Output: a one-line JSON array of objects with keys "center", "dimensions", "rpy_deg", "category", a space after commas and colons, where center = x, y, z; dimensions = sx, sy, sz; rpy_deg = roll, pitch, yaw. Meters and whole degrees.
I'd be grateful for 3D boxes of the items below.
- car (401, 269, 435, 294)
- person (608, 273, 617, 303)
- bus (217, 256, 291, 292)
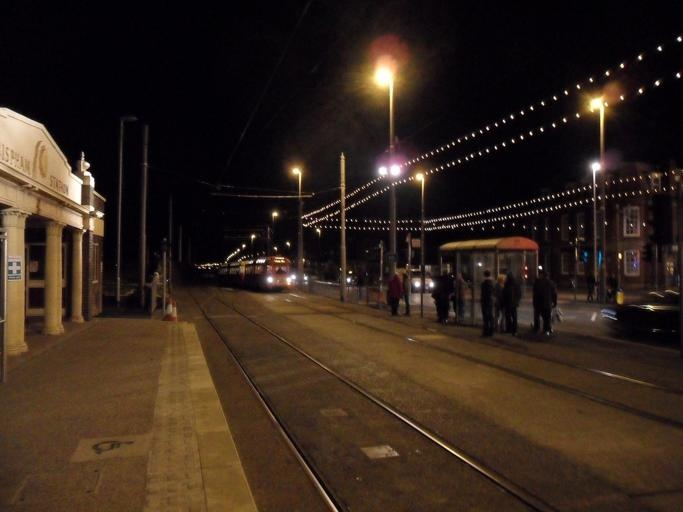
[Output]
[{"center": [4.344, 1.481, 36.375], "dimensions": [1.190, 1.400, 2.419], "rpy_deg": [1, -7, -20], "category": "car"}, {"center": [13.700, 1.780, 32.482], "dimensions": [0.423, 1.335, 1.370], "rpy_deg": [2, 6, 17], "category": "person"}, {"center": [-7.531, 1.804, 55.936], "dimensions": [2.568, 3.337, 20.892], "rpy_deg": [1, -6, -19], "category": "bus"}]
